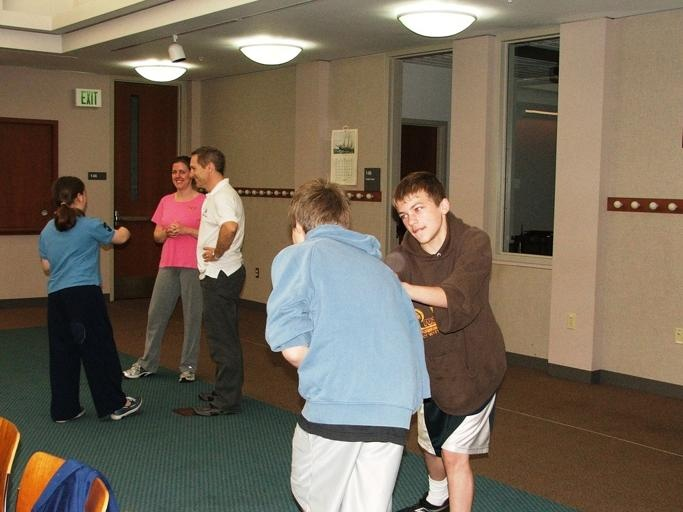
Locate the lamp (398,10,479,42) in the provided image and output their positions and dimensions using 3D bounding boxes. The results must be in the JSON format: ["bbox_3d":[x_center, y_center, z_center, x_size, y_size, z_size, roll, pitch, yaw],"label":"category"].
[{"bbox_3d":[0.902,-2.224,5.224,0.741,0.227,0.263,2,7,6],"label":"lamp"}]

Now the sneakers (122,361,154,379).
[{"bbox_3d":[-1.962,1.120,5.376,0.329,0.168,0.126,3,3,-16],"label":"sneakers"}]

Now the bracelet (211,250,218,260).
[{"bbox_3d":[-1.019,-0.008,4.407,0.019,0.066,0.062,13,7,2],"label":"bracelet"}]

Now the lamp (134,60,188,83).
[{"bbox_3d":[-2.440,-2.575,7.543,0.778,0.318,0.444,3,7,13],"label":"lamp"}]

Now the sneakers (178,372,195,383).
[{"bbox_3d":[-1.467,1.155,5.199,0.077,0.072,0.150,1,-11,-4],"label":"sneakers"}]

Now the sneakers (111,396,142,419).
[{"bbox_3d":[-1.709,1.219,4.424,0.093,0.135,0.286,6,11,24],"label":"sneakers"}]
